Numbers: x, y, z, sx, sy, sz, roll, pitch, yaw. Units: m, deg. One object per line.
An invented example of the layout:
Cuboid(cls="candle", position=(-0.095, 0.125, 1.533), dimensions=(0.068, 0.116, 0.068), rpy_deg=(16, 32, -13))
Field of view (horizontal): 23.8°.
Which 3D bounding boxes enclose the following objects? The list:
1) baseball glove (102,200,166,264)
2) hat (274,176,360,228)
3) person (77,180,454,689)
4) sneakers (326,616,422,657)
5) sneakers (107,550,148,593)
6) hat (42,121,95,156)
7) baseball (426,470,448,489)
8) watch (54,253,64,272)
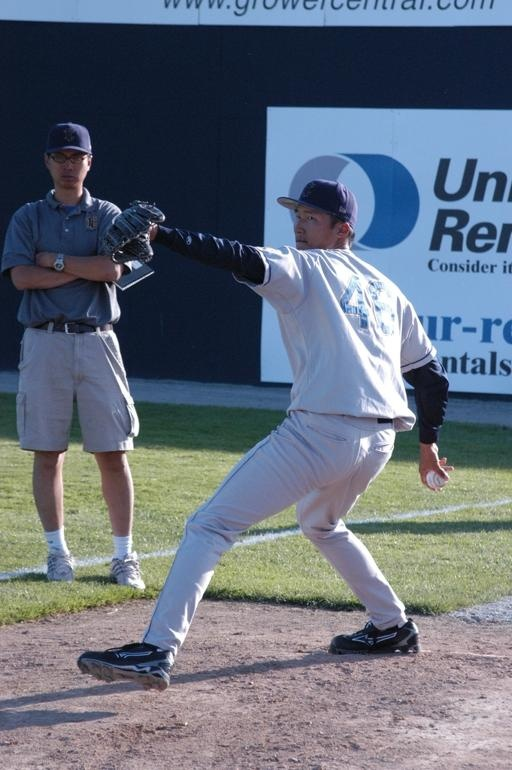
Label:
Cuboid(cls="baseball glove", position=(-0.443, -0.537, 4.280), dimensions=(0.118, 0.172, 0.240), rpy_deg=(49, -16, -17))
Cuboid(cls="hat", position=(0.241, -0.697, 4.556), dimensions=(0.272, 0.144, 0.190), rpy_deg=(22, 6, -14))
Cuboid(cls="person", position=(0.147, 0.259, 4.429), dimensions=(1.534, 1.612, 0.498), rpy_deg=(-4, 8, -44))
Cuboid(cls="sneakers", position=(0.470, 0.990, 4.811), dimensions=(0.358, 0.168, 0.138), rpy_deg=(2, -5, 3))
Cuboid(cls="sneakers", position=(-0.586, 0.868, 5.632), dimensions=(0.087, 0.113, 0.254), rpy_deg=(-1, 10, -37))
Cuboid(cls="hat", position=(-0.867, -1.149, 5.630), dimensions=(0.190, 0.155, 0.252), rpy_deg=(2, 6, -1))
Cuboid(cls="baseball", position=(0.723, 0.384, 4.860), dimensions=(0.083, 0.080, 0.063), rpy_deg=(4, 14, 2))
Cuboid(cls="watch", position=(-0.877, -0.547, 5.416), dimensions=(0.051, 0.077, 0.072), rpy_deg=(7, 17, -8))
